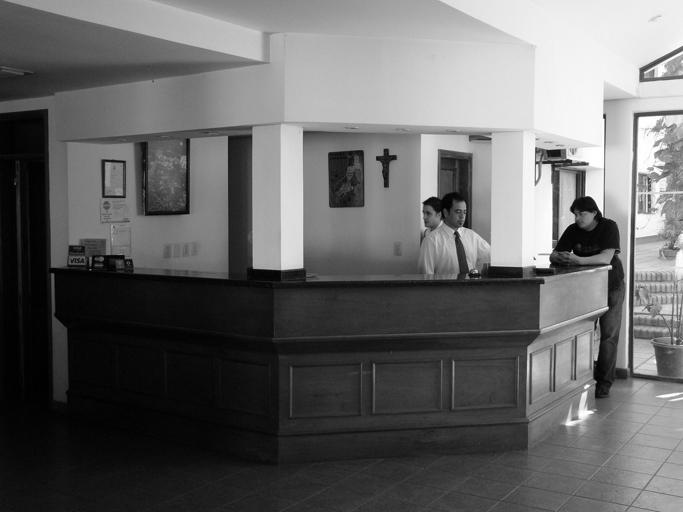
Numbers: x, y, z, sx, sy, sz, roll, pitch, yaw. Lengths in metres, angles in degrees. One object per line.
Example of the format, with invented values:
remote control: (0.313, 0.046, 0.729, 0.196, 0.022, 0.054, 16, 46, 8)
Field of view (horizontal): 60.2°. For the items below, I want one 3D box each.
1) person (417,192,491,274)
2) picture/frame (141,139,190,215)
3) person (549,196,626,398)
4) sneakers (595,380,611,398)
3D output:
person: (1.176, -0.249, 6.317, 0.848, 1.092, 0.560, -5, 6, -35)
picture/frame: (-1.912, -0.864, 6.351, 0.052, 1.132, 0.796, 1, 2, 33)
person: (2.786, 0.446, 6.665, 0.639, 2.228, 1.389, 2, 3, 37)
sneakers: (2.931, 1.487, 6.607, 0.146, 0.157, 0.262, 2, 4, 30)
